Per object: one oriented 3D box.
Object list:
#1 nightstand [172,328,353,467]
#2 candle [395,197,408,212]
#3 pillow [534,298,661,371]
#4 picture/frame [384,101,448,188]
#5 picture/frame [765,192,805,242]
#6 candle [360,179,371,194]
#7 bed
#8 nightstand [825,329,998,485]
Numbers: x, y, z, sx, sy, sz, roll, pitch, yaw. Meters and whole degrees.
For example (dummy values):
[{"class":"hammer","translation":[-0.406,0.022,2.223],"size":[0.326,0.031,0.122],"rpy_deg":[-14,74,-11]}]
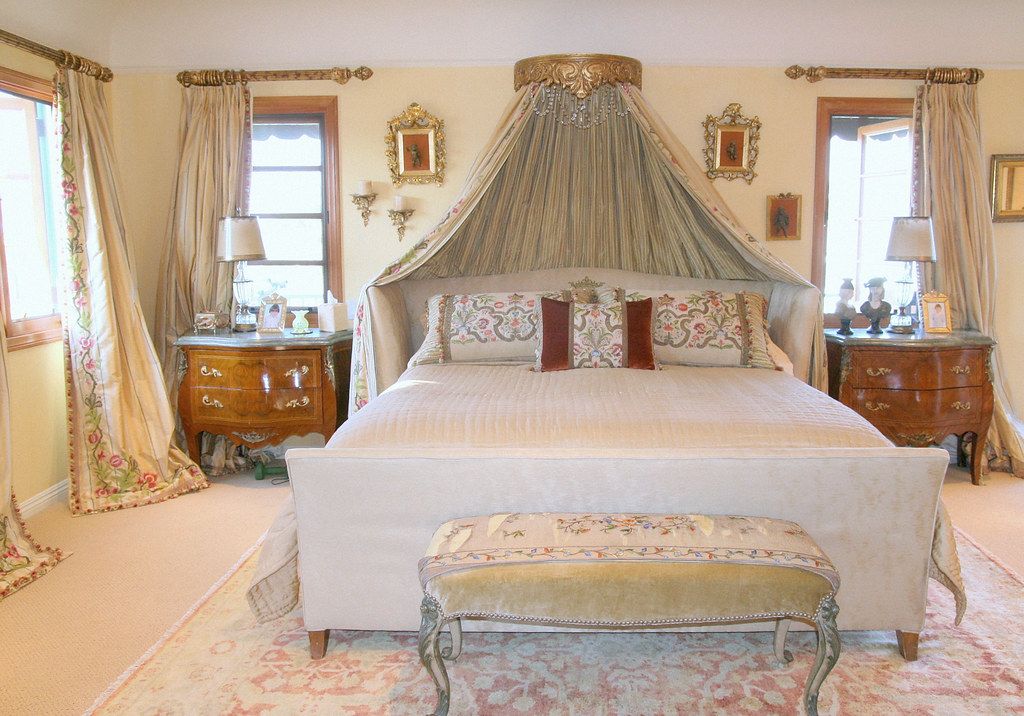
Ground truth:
[{"class":"nightstand","translation":[-1.612,0.334,5.108],"size":[1.140,0.877,0.724],"rpy_deg":[1,3,10]},{"class":"candle","translation":[-0.762,-1.045,5.254],"size":[0.094,0.101,0.091],"rpy_deg":[-2,9,-5]},{"class":"pillow","translation":[0.470,-0.123,4.391],"size":[0.671,0.436,0.152],"rpy_deg":[-1,5,-7]},{"class":"picture/frame","translation":[-0.658,-1.461,5.182],"size":[0.569,0.658,0.070],"rpy_deg":[0,7,-2]},{"class":"picture/frame","translation":[1.843,-0.972,5.225],"size":[0.339,0.442,0.045],"rpy_deg":[1,4,-1]},{"class":"candle","translation":[-0.996,-1.149,5.211],"size":[0.030,0.088,0.086],"rpy_deg":[4,9,39]},{"class":"bed","translation":[0.381,0.377,4.413],"size":[3.265,1.334,3.051],"rpy_deg":[8,3,-5]},{"class":"nightstand","translation":[2.554,0.326,4.997],"size":[0.928,0.828,0.688],"rpy_deg":[0,2,18]}]
